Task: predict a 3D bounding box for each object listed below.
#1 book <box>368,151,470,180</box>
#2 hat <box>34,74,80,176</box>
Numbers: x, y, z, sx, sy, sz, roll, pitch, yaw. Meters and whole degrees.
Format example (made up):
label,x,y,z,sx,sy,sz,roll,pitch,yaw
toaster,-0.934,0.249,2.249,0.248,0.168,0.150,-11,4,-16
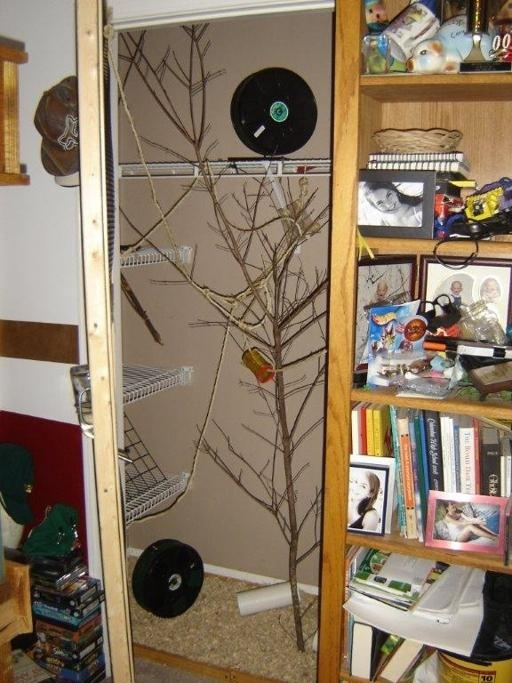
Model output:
label,x,y,z,sx,sy,sz,roll,pitch,yaw
book,0.312,-0.344,1.070,0.186,0.047,0.056,0,6,4
hat,-0.509,-0.555,1.441,0.162,0.259,0.050,4,7,35
